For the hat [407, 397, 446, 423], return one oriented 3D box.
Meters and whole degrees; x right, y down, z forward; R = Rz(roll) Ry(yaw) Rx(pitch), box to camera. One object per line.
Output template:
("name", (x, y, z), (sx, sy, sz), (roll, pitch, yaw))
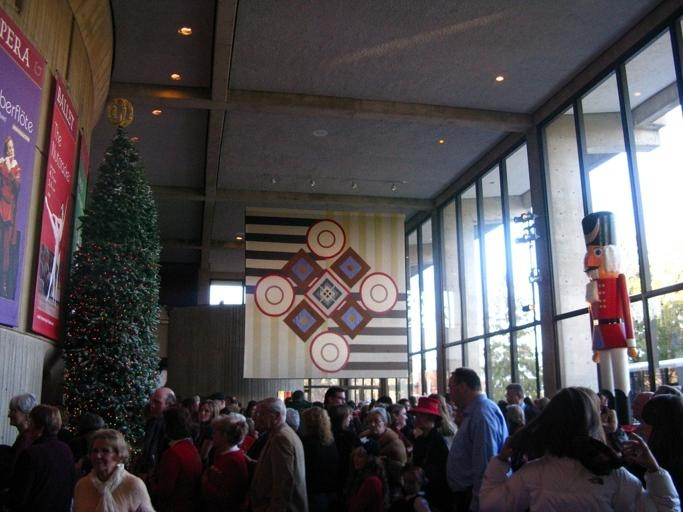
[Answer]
("hat", (0.759, 1.358, 5.252), (0.233, 0.153, 0.284), (10, -27, -9))
